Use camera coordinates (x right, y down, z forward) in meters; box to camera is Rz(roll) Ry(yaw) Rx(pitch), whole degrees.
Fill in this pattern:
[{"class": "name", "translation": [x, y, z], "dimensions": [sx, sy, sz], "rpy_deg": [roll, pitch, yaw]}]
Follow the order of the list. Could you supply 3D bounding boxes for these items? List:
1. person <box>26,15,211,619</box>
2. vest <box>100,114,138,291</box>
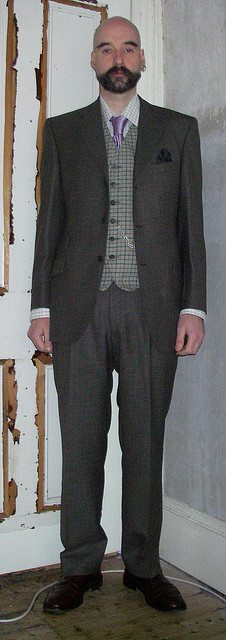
[{"class": "person", "translation": [0.009, -0.031, 1.553], "dimensions": [0.513, 1.667, 0.245], "rpy_deg": [-1, -3, 11]}, {"class": "vest", "translation": [0.016, -0.312, 1.468], "dimensions": [0.064, 0.445, 0.100], "rpy_deg": [-2, 6, -14]}]
